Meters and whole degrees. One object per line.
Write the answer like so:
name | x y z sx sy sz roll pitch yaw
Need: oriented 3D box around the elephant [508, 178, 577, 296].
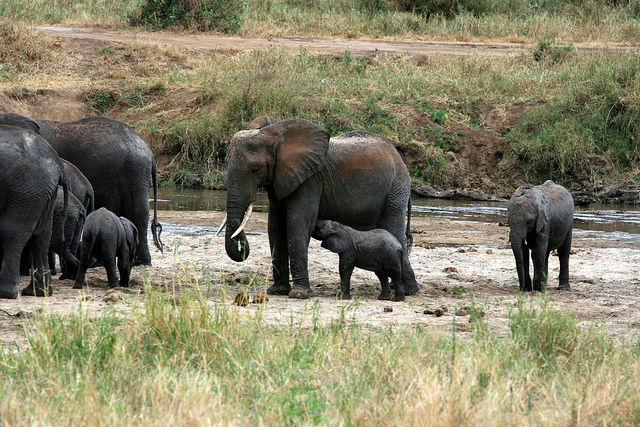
elephant | 3.784 0.440 16.633 0.842 1.784 2.037 1 1 35

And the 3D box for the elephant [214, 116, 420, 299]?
elephant | -0.051 -0.100 16.007 3.693 2.758 1.854 -1 4 -25

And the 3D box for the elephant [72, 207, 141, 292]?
elephant | -3.468 0.559 15.227 0.808 1.276 0.815 1 2 11

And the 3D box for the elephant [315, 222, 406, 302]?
elephant | 0.456 0.780 15.441 1.843 1.160 0.549 3 -1 12
